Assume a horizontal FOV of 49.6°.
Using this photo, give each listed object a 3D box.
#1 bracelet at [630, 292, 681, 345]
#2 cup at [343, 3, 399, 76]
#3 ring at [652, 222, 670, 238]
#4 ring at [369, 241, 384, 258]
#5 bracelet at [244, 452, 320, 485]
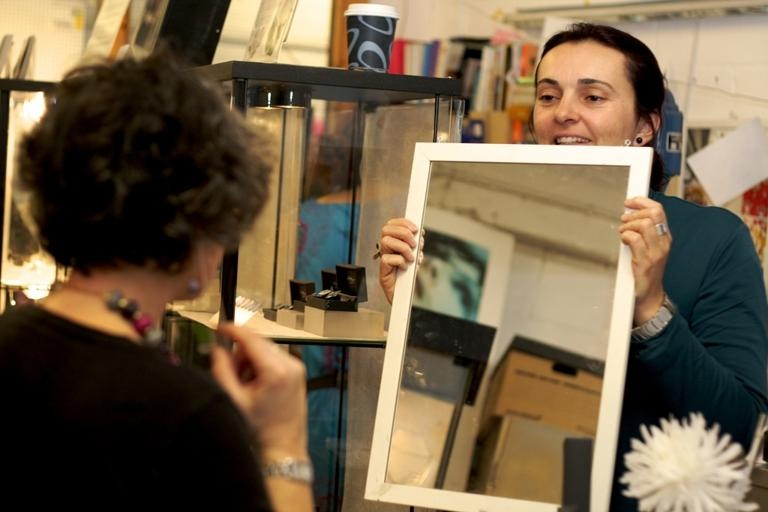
[{"bbox_3d":[0.698,0.175,2.160,0.130,0.050,0.099,-41,3,-17],"label":"bracelet"},{"bbox_3d":[-0.041,-0.671,2.540,0.186,0.196,0.197,3,0,0],"label":"cup"},{"bbox_3d":[0.702,-0.064,2.094,0.032,0.025,0.032,2,-10,0],"label":"ring"},{"bbox_3d":[-0.023,-0.019,2.587,0.032,0.050,0.050,3,-17,-3],"label":"ring"},{"bbox_3d":[-0.193,0.442,1.722,0.096,0.052,0.025,9,1,-15],"label":"bracelet"}]
